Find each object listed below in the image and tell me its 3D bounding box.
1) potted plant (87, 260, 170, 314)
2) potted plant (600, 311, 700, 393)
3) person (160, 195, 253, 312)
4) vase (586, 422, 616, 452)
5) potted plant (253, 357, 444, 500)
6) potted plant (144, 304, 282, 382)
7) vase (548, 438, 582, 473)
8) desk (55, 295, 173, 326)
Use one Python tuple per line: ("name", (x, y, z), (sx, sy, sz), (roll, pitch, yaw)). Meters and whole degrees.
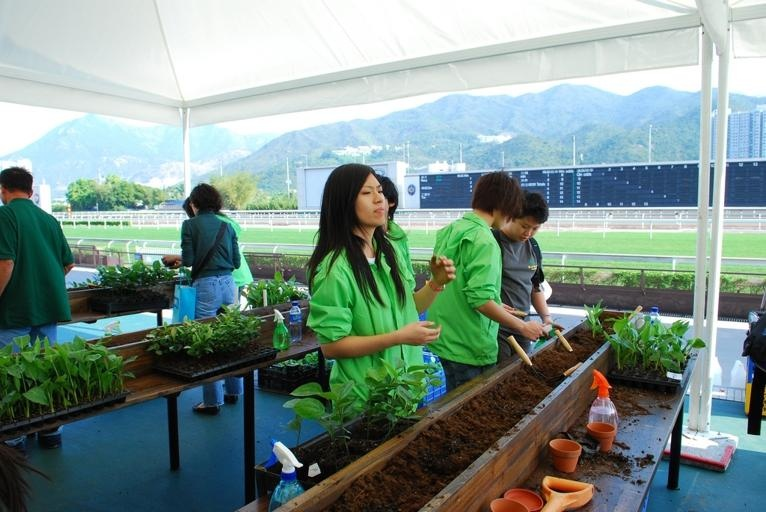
("potted plant", (-3.192, 0.388, 5.532), (0.642, 0.546, 0.900), (3, 4, 27))
("potted plant", (2.123, 0.723, 3.455), (0.714, 0.315, 0.747), (11, 15, 39))
("person", (-1.983, -0.055, 5.147), (0.799, 1.523, 1.134), (-4, 11, -19))
("vase", (1.258, 1.017, 2.546), (0.151, 0.109, 0.147), (-5, -8, -6))
("potted plant", (-0.161, 0.842, 2.282), (0.906, 0.581, 0.602), (-9, 14, -39))
("potted plant", (-1.391, 0.751, 3.670), (0.660, 0.257, 0.600), (-8, 11, -44))
("vase", (0.962, 1.036, 2.381), (0.164, 0.117, 0.160), (-3, -2, -7))
("desk", (-3.384, 0.771, 5.562), (1.137, 0.501, 0.416), (-8, 0, -30))
